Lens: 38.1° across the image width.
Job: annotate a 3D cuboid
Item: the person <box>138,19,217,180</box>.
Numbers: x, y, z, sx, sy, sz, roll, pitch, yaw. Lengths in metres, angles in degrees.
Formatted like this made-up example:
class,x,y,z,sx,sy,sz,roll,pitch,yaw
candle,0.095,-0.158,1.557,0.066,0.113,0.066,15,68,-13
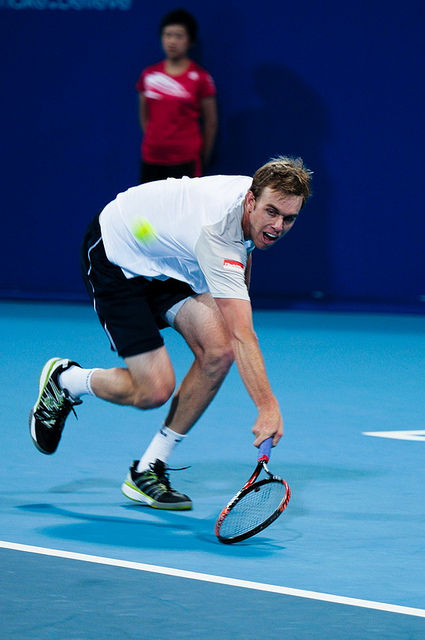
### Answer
class,x,y,z,sx,sy,sz,roll,pitch,yaw
person,-0.432,-2.451,7.215,0.805,1.589,1.134,1,-5,18

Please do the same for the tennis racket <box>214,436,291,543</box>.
class,x,y,z,sx,sy,sz,roll,pitch,yaw
tennis racket,0.128,0.556,2.012,0.220,0.362,0.247,2,-5,2

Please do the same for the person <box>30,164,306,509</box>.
class,x,y,z,sx,sy,sz,roll,pitch,yaw
person,-0.150,0.111,2.606,0.462,1.377,1.525,8,-8,-44

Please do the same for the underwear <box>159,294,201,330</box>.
class,x,y,z,sx,sy,sz,roll,pitch,yaw
underwear,-0.169,-0.040,2.812,0.192,0.152,0.085,-2,-7,41

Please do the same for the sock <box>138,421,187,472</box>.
class,x,y,z,sx,sy,sz,roll,pitch,yaw
sock,-0.232,0.564,2.761,0.202,0.213,0.133,3,-5,-8
